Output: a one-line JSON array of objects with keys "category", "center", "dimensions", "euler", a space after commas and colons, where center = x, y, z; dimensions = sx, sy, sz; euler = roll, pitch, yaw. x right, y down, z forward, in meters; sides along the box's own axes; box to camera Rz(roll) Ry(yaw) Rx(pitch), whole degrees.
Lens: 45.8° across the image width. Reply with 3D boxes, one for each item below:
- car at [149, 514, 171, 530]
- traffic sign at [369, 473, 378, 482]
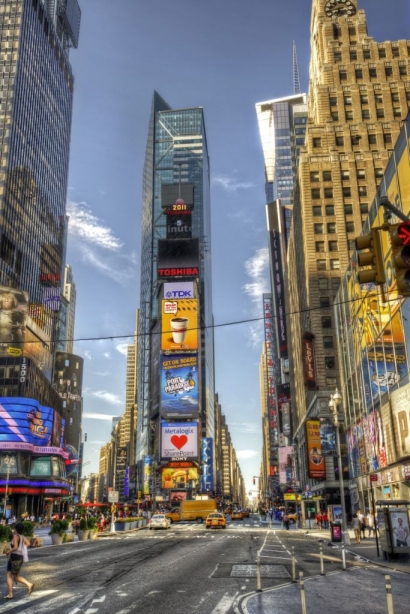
[{"category": "car", "center": [-5.080, 24.690, 55.582], "dimensions": [1.266, 1.058, 2.984], "euler": [0, -14, 3]}, {"category": "traffic sign", "center": [14.331, 14.514, 41.284], "dimensions": [0.532, 1.077, 1.034], "euler": [4, -19, 4]}]
